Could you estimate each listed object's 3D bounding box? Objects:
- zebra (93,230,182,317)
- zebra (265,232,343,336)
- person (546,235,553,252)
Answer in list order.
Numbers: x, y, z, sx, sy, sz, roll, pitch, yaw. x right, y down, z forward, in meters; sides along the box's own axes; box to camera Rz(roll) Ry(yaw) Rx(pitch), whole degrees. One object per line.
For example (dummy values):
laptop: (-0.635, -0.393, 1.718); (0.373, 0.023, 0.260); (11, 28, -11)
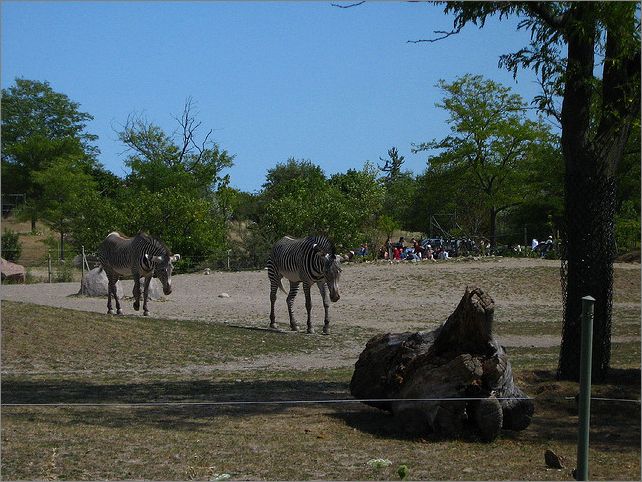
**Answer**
zebra: (-5.568, 0.998, 27.758); (0.940, 2.620, 3.610); (0, 1, -44)
zebra: (-0.537, 1.112, 26.068); (1.030, 2.883, 4.161); (-1, 0, -27)
person: (12.326, 0.182, 49.597); (0.285, 0.817, 1.924); (0, -3, 14)
